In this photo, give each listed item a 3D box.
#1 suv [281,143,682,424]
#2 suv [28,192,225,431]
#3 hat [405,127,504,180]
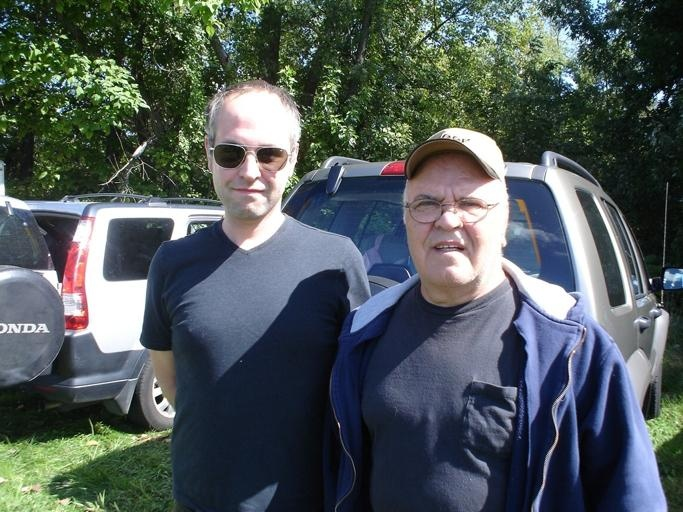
[{"bbox_3d":[1.374,0.068,4.196,1.876,1.532,2.714,-3,13,37],"label":"suv"},{"bbox_3d":[-2.017,0.267,5.690,1.485,1.506,2.635,5,12,30],"label":"suv"},{"bbox_3d":[0.523,-0.423,2.391,0.317,0.253,0.542,5,-6,16],"label":"hat"}]
